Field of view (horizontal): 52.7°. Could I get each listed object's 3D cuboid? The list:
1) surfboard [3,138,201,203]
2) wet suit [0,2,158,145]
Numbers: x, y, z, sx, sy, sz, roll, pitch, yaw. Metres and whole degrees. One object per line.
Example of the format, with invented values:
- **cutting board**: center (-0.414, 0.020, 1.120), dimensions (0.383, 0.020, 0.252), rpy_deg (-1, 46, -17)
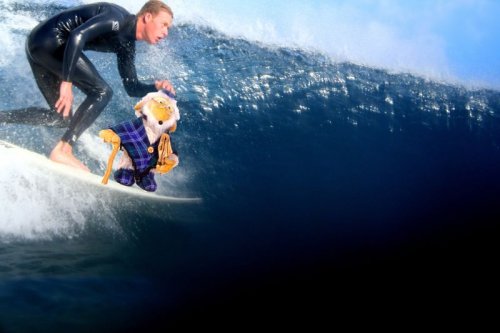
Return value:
- **surfboard**: center (-1.698, 0.056, 5.416), dimensions (2.050, 0.296, 0.224), rpy_deg (16, 77, 32)
- **wet suit**: center (-1.744, -0.962, 5.078), dimensions (1.352, 1.192, 0.797), rpy_deg (-15, 37, -22)
